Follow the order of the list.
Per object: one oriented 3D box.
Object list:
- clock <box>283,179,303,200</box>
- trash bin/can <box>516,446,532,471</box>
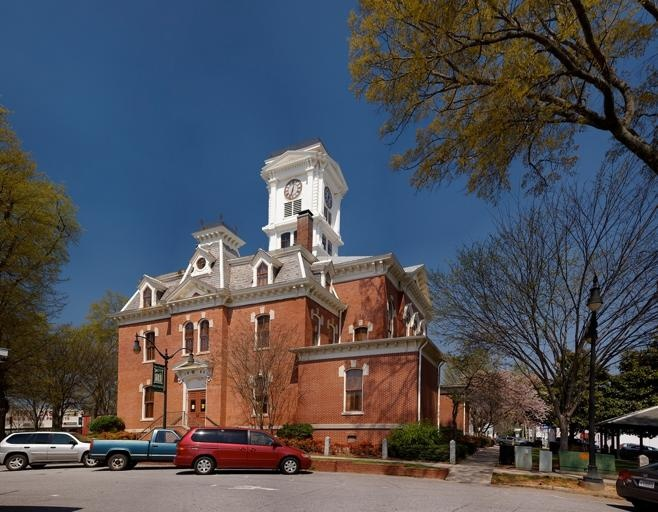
[{"bbox_3d":[-2.912,-5.542,62.406,1.649,1.891,0.172,1,-23,25],"label":"clock"},{"bbox_3d":[9.515,9.933,36.619,0.884,1.367,0.686,1,-8,-5],"label":"trash bin/can"}]
